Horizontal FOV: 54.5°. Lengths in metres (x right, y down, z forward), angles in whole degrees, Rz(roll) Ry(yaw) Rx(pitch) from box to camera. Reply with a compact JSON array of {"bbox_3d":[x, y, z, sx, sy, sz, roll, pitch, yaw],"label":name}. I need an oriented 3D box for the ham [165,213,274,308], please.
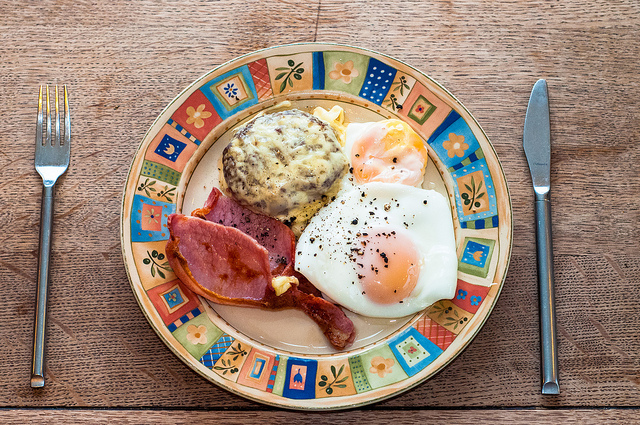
[{"bbox_3d":[-0.510,0.250,3.097,0.596,0.104,0.373,15,86,1],"label":"ham"}]
